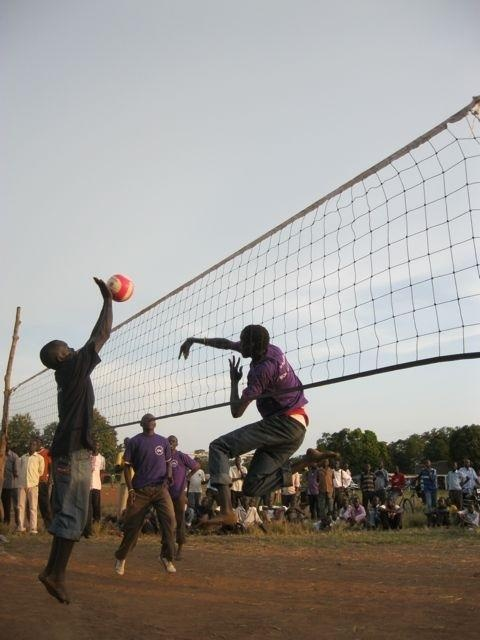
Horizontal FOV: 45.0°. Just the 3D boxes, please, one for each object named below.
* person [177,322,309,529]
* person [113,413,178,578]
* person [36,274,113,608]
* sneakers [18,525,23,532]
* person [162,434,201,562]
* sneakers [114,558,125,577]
[{"bbox_3d":[0.124,0.644,3.676,0.582,1.222,0.909,0,-12,1],"label":"person"},{"bbox_3d":[-0.855,1.655,5.481,0.640,1.510,0.544,8,-14,-32],"label":"person"},{"bbox_3d":[-1.087,0.732,3.689,0.446,2.005,0.241,1,-12,-7],"label":"person"},{"bbox_3d":[-3.365,3.211,8.868,0.101,0.060,0.212,5,-14,-21],"label":"sneakers"},{"bbox_3d":[-0.690,1.926,6.402,0.431,1.279,0.374,0,-16,-10],"label":"person"},{"bbox_3d":[-1.129,2.306,5.418,0.091,0.180,0.389,2,-13,-12],"label":"sneakers"}]
